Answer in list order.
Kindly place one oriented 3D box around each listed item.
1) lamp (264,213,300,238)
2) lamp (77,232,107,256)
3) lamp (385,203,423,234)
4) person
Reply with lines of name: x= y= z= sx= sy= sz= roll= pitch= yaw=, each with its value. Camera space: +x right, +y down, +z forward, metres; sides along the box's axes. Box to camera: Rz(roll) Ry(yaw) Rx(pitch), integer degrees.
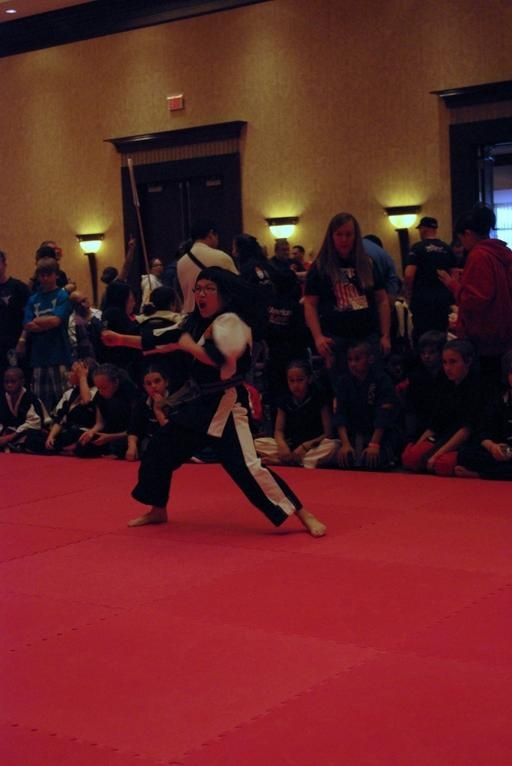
lamp: x=0.324 y=-1.881 z=8.073 sx=0.322 sy=0.186 sz=0.285 roll=-1 pitch=6 yaw=1
lamp: x=-2.377 y=-1.991 z=9.721 sx=0.384 sy=0.266 sz=0.327 roll=0 pitch=3 yaw=4
lamp: x=1.623 y=-1.820 z=7.395 sx=0.339 sy=0.225 sz=0.324 roll=0 pitch=2 yaw=4
person: x=-0.049 y=0.104 z=3.578 sx=1.417 sy=1.490 sz=0.985 roll=7 pitch=-1 yaw=-17
